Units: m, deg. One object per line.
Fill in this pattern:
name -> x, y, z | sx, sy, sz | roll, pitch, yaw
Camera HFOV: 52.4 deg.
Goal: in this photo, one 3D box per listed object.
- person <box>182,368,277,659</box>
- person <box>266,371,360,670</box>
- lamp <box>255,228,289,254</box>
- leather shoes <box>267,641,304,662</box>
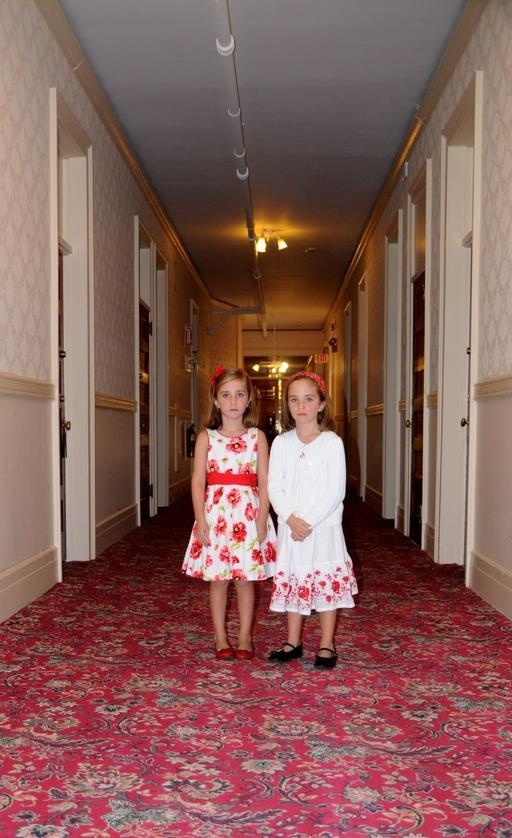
person -> -0.089, 0.319, 1.827 | 0.312, 0.973, 0.240 | 0, -8, 1
person -> 0.178, 0.316, 1.743 | 0.290, 0.961, 0.277 | -2, -9, 11
lamp -> 0.163, -2.215, 6.721 | 0.360, 0.291, 0.405 | 1, -2, 5
leather shoes -> 0.100, 0.767, 1.738 | 0.117, 0.058, 0.046 | 6, -13, -31
